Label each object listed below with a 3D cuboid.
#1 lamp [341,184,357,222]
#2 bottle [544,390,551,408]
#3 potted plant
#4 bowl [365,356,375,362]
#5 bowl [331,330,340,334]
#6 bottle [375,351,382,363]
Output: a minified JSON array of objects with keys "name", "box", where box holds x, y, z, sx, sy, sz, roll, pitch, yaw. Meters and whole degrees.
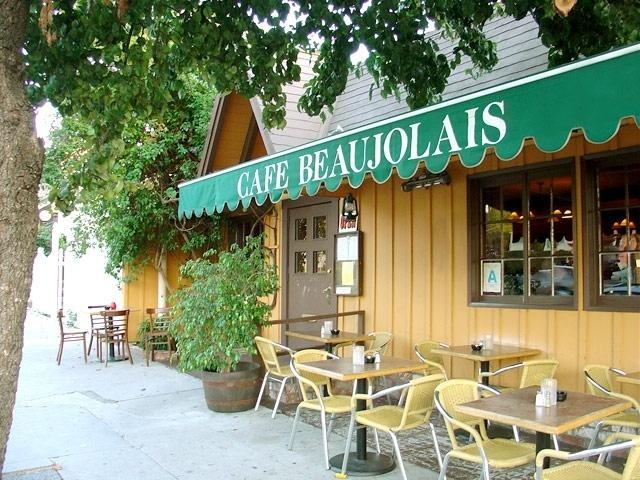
[{"name":"lamp","box":[0.507,-0.537,8.676,0.288,0.482,0.622,-1,-2,2]},{"name":"bottle","box":[1.803,1.244,4.122,0.054,0.116,0.080,-1,-2,22]},{"name":"potted plant","box":[-1.516,1.168,8.084,1.503,2.388,2.418,0,-2,-14]},{"name":"bowl","box":[0.538,1.267,5.565,0.103,0.076,0.061,-1,-2,-1]},{"name":"bowl","box":[0.224,1.349,7.673,0.069,0.043,0.070,0,-15,0]},{"name":"bottle","box":[0.632,1.264,5.686,0.096,0.114,0.099,-1,0,-29]}]
